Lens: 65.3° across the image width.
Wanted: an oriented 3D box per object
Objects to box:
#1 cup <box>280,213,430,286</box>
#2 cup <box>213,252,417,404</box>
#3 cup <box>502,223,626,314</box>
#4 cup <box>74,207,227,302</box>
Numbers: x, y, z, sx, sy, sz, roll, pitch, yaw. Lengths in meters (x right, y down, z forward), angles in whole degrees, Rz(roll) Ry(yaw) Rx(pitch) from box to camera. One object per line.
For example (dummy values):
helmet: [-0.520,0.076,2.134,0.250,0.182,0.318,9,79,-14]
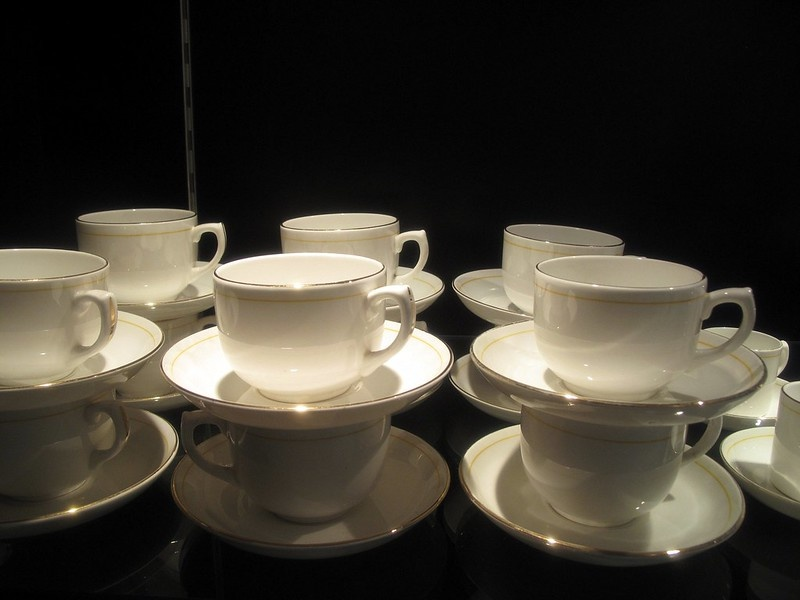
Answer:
cup: [-0.058,-0.054,0.796,0.182,0.084,0.141,3,8,14]
cup: [-0.081,0.028,0.595,0.198,0.116,0.158,6,12,25]
cup: [0.188,-0.051,0.795,0.151,0.100,0.114,-1,12,-16]
cup: [-0.311,-0.052,0.792,0.157,0.099,0.125,0,10,-7]
